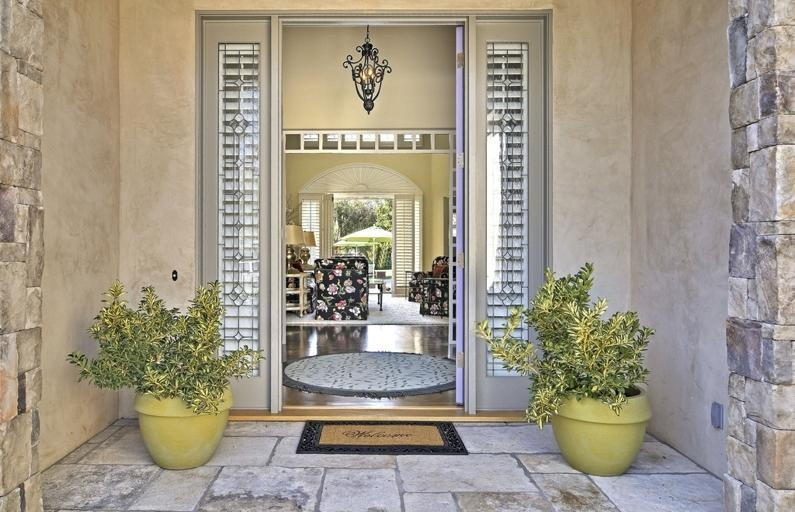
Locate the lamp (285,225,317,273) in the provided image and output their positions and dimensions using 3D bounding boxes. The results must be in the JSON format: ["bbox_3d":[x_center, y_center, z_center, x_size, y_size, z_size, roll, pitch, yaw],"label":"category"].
[{"bbox_3d":[-1.690,-0.121,10.221,0.688,0.901,0.797,1,-4,-11],"label":"lamp"}]

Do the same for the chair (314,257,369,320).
[{"bbox_3d":[-0.896,0.350,9.734,0.818,1.040,1.082,1,19,-6],"label":"chair"}]

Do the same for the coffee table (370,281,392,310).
[{"bbox_3d":[-0.390,0.774,12.288,0.593,0.547,0.446,-1,-1,2],"label":"coffee table"}]

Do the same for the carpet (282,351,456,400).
[{"bbox_3d":[-0.265,1.120,5.647,1.635,0.088,1.357,1,7,1],"label":"carpet"}]

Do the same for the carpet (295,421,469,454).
[{"bbox_3d":[-0.105,1.259,4.241,1.135,0.021,0.551,0,7,-1],"label":"carpet"}]

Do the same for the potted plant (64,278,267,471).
[{"bbox_3d":[-1.528,0.690,4.199,1.193,1.305,1.213,-1,0,-35],"label":"potted plant"}]
